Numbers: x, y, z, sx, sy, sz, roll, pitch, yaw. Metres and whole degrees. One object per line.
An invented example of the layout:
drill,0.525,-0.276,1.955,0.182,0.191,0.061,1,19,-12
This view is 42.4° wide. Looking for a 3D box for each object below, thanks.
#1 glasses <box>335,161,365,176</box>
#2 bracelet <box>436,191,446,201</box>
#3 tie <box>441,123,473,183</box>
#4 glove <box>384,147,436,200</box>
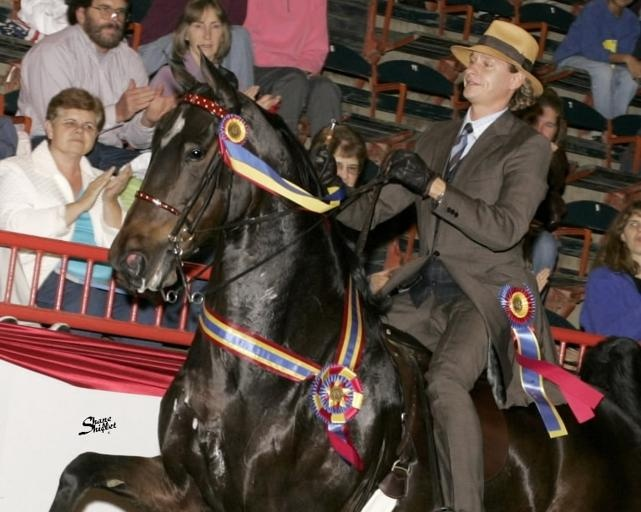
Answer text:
glasses,0.199,-0.570,5.398,0.150,0.095,0.149,4,2,-9
bracelet,0.567,-0.283,3.954,0.035,0.040,0.010,9,-14,37
tie,0.741,-0.570,4.415,0.083,0.457,0.056,8,-24,31
glove,0.420,-0.401,4.002,0.230,0.215,0.098,33,-14,-4
